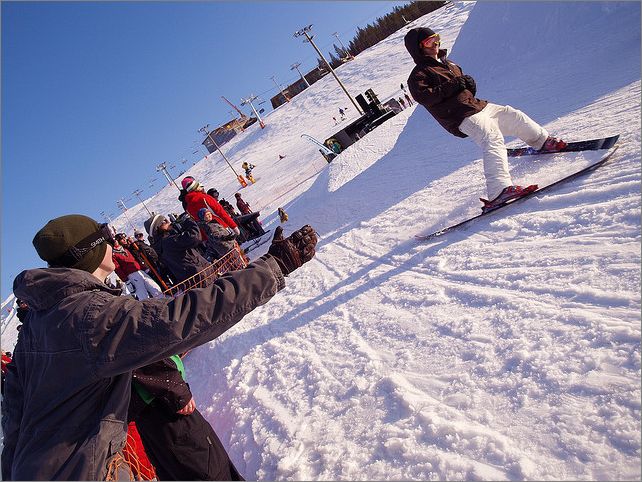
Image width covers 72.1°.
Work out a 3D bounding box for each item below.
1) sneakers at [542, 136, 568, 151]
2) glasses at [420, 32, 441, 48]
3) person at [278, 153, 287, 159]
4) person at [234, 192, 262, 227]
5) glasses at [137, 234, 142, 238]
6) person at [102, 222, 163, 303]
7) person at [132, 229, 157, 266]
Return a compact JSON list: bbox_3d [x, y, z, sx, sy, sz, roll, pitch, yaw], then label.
[{"bbox_3d":[2.919,-1.214,5.565,0.362,0.158,0.130,12,57,48],"label":"sneakers"},{"bbox_3d":[1.384,-2.516,5.628,0.192,0.129,0.233,-30,15,-6],"label":"glasses"},{"bbox_3d":[-3.108,-6.720,35.025,0.558,0.146,2.425,-37,18,4],"label":"person"},{"bbox_3d":[-2.679,-1.229,16.468,0.649,0.567,2.063,-16,-24,6],"label":"person"},{"bbox_3d":[-4.620,-0.158,11.254,0.134,0.075,0.161,8,-11,-38],"label":"glasses"},{"bbox_3d":[-3.537,0.654,8.501,0.491,1.891,0.436,-21,32,-7],"label":"person"},{"bbox_3d":[-4.004,0.166,10.021,0.383,1.153,0.227,-52,-29,21],"label":"person"}]
